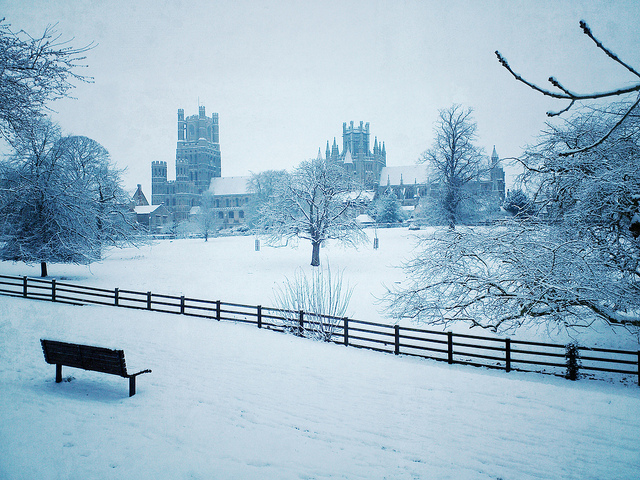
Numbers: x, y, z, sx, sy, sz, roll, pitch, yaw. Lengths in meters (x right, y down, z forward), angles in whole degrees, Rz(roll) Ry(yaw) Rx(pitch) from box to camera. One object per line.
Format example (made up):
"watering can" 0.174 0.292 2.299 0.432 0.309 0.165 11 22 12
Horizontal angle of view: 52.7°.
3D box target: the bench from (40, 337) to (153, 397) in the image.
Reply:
"bench" -6.668 3.771 19.148 3.444 1.463 1.280 1 -1 31
